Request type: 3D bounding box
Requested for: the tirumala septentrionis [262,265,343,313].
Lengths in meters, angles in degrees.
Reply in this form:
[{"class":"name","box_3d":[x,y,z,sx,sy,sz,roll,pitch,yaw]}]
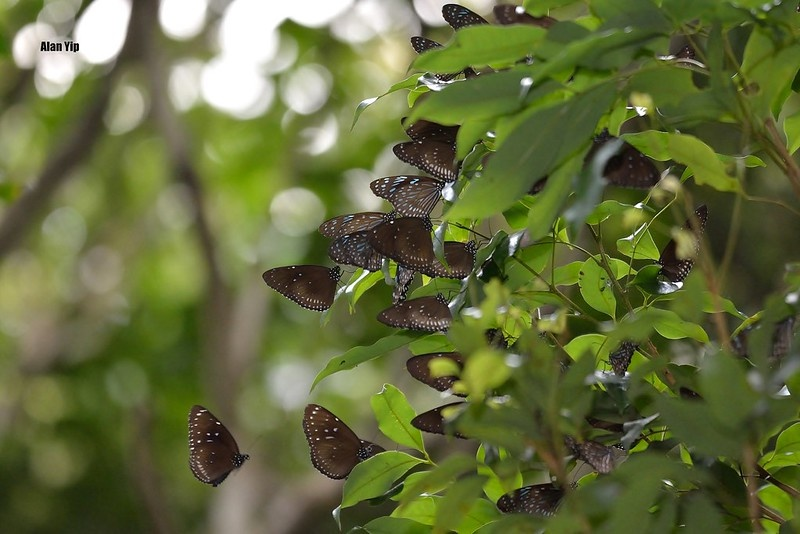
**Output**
[{"class":"tirumala septentrionis","box_3d":[-0.179,0.033,1.751,0.095,0.045,0.126,-36,32,-22]}]
